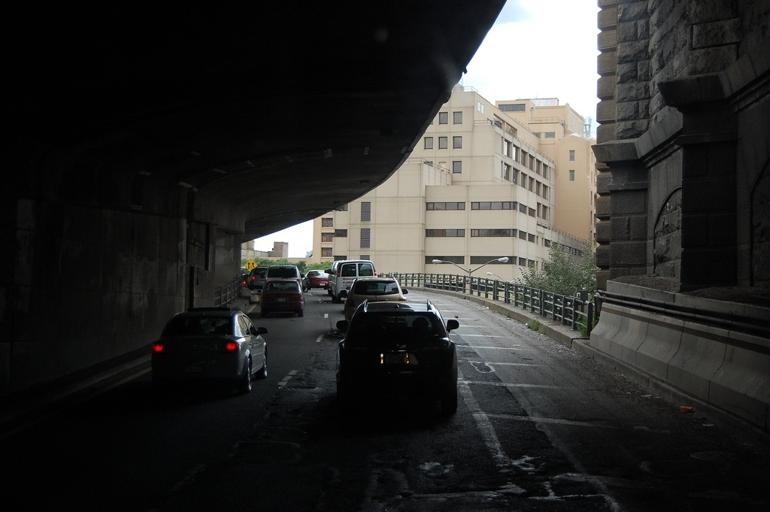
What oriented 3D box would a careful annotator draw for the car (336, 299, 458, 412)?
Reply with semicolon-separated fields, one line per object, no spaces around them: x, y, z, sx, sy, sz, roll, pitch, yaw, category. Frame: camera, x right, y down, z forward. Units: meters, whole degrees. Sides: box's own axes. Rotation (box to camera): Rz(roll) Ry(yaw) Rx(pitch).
0.317;2.165;13.443;2.553;2.227;4.643;0;0;2;car

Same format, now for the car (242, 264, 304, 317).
-5.691;2.134;33.677;2.280;2.430;6.725;1;0;-3;car

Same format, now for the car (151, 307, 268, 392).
-3.994;2.224;13.502;2.611;1.885;1.573;0;0;-35;car
